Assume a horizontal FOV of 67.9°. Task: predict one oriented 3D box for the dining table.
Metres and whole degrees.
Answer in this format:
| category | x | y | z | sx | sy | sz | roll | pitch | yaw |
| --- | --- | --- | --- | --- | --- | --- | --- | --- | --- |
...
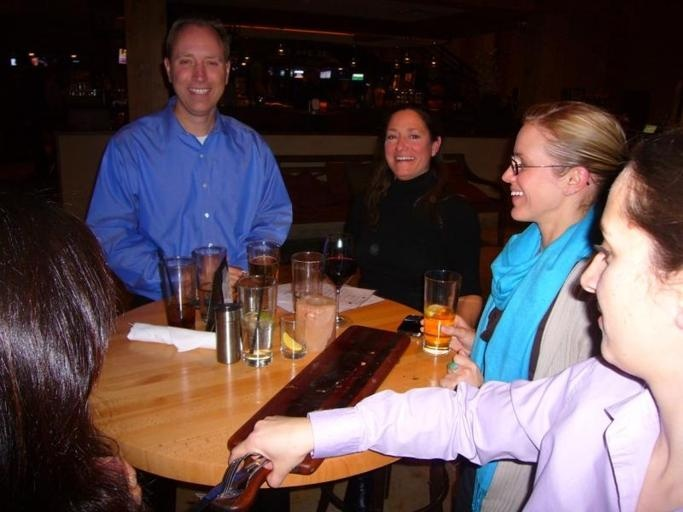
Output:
| category | x | y | z | sx | sy | sz | roll | pitch | yaw |
| --- | --- | --- | --- | --- | --- | --- | --- | --- | --- |
| dining table | -0.169 | 0.344 | 1.319 | 0.808 | 0.365 | 0.764 | -2 | 11 | -9 |
